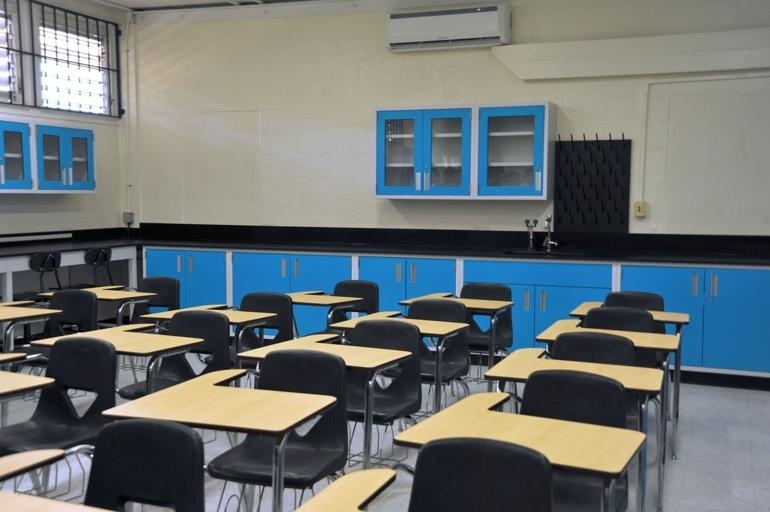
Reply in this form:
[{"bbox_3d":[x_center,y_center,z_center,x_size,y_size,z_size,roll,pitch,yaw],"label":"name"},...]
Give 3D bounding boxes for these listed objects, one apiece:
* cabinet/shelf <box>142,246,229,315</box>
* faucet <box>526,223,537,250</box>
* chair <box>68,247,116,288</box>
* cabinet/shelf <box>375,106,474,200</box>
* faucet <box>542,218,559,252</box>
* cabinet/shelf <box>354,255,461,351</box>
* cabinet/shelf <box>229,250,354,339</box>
[{"bbox_3d":[-2.297,0.289,7.311,0.802,0.776,0.290,0,0,13],"label":"cabinet/shelf"},{"bbox_3d":[1.704,-0.244,7.273,0.123,0.310,0.265,3,11,12],"label":"faucet"},{"bbox_3d":[-3.625,0.151,7.854,0.503,0.661,0.494,2,2,24],"label":"chair"},{"bbox_3d":[0.495,-1.219,7.260,1.050,0.964,0.415,1,2,19],"label":"cabinet/shelf"},{"bbox_3d":[1.919,-0.271,7.217,0.181,0.380,0.243,3,11,14],"label":"faucet"},{"bbox_3d":[0.247,0.424,5.873,1.018,0.981,0.364,0,0,16],"label":"cabinet/shelf"},{"bbox_3d":[-0.936,0.399,6.622,1.035,1.016,0.407,0,-1,18],"label":"cabinet/shelf"}]
